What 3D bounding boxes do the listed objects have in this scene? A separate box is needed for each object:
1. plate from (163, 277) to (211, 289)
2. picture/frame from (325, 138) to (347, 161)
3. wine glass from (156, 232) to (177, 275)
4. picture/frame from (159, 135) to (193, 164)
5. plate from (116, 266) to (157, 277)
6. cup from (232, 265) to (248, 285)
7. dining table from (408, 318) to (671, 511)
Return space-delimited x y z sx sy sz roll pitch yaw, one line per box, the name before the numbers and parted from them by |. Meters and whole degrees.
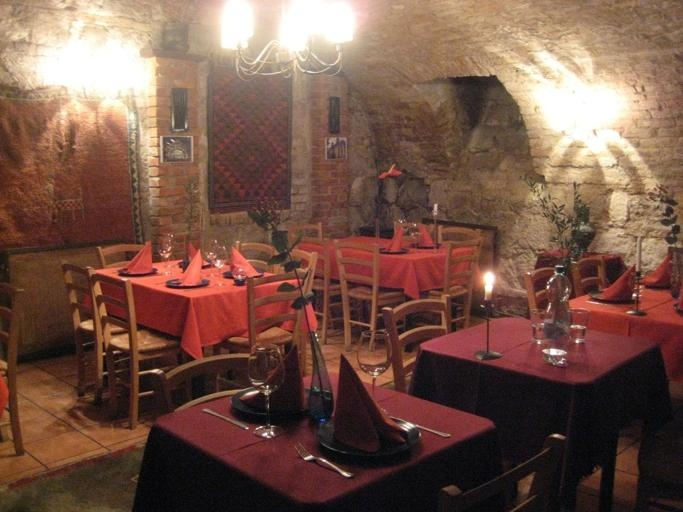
plate | -1.119 0.176 3.960 0.311 0.045 0.277 -2 11 -7
picture/frame | -0.070 -1.337 6.784 0.036 0.271 0.361 11 16 42
wine glass | -1.462 -0.034 4.541 0.117 0.260 0.109 7 14 14
picture/frame | -1.624 -1.039 5.289 0.023 0.219 0.302 3 6 41
plate | -1.603 0.114 4.245 0.303 0.042 0.200 -1 11 -4
cup | -0.770 0.142 4.050 0.124 0.135 0.125 2 -1 0
dining table | 1.089 0.507 2.760 1.002 0.582 0.998 -3 6 -44
